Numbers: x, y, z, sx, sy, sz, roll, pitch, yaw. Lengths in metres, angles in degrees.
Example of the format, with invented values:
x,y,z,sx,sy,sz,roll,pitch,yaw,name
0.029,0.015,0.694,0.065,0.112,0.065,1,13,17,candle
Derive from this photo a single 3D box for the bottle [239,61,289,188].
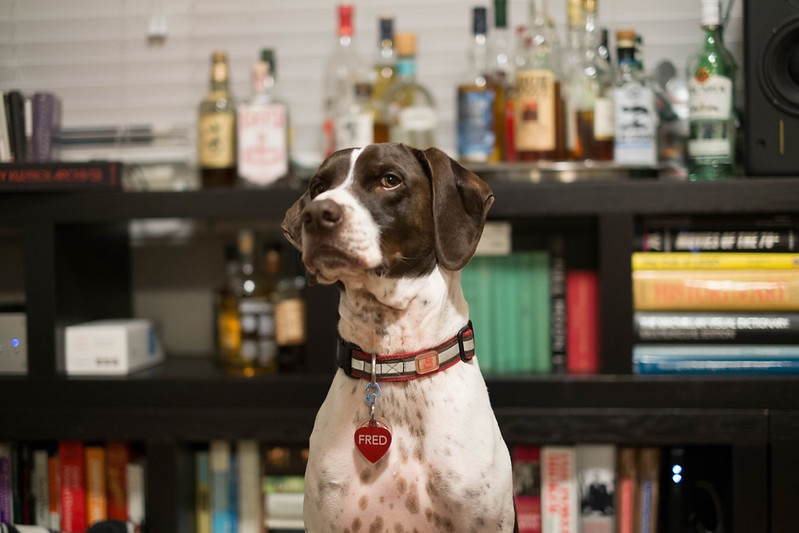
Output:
x,y,z,sx,sy,sz,roll,pitch,yaw,name
-0.464,-0.445,4.400,0.173,0.490,0.143,-2,-23,-2,bottle

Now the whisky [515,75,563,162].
x,y,z,sx,sy,sz,roll,pitch,yaw,name
0.449,-0.511,4.349,0.167,0.303,0.173,-3,15,2,whisky

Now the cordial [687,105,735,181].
x,y,z,sx,sy,sz,roll,pitch,yaw,name
1.027,-0.411,4.306,0.165,0.264,0.163,1,4,41,cordial

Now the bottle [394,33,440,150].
x,y,z,sx,sy,sz,roll,pitch,yaw,name
0.042,-0.592,4.417,0.156,0.389,0.167,-4,5,0,bottle

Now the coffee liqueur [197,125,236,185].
x,y,z,sx,sy,sz,roll,pitch,yaw,name
-0.640,-0.381,4.411,0.130,0.222,0.132,-1,2,-15,coffee liqueur

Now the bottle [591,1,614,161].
x,y,z,sx,sy,sz,roll,pitch,yaw,name
0.683,-0.590,4.373,0.079,0.471,0.177,-3,5,10,bottle

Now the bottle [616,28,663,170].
x,y,z,sx,sy,sz,roll,pitch,yaw,name
0.784,-0.552,4.328,0.146,0.457,0.199,-3,5,12,bottle
